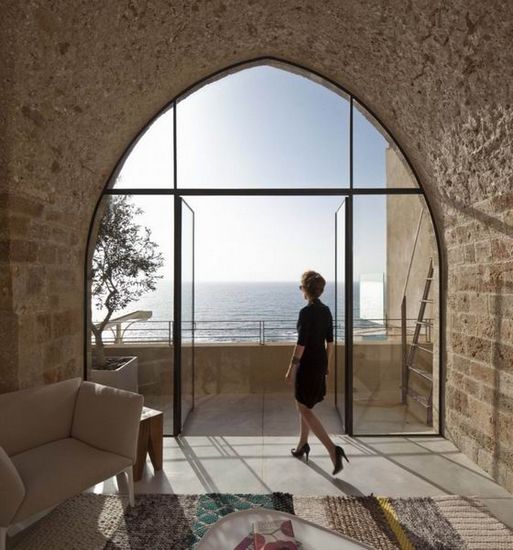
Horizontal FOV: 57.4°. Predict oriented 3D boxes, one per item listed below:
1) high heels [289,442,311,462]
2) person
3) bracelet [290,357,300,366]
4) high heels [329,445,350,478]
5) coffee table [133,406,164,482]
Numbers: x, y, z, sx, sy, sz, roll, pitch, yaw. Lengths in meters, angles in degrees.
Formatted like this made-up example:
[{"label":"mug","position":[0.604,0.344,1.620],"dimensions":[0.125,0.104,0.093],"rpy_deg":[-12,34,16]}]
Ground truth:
[{"label":"high heels","position":[0.345,1.384,3.654],"dimensions":[0.061,0.128,0.208],"rpy_deg":[2,-5,-17]},{"label":"person","position":[0.440,0.710,3.541],"dimensions":[0.417,1.458,0.572],"rpy_deg":[0,3,4]},{"label":"bracelet","position":[0.286,0.652,3.548],"dimensions":[0.048,0.045,0.055],"rpy_deg":[-1,8,2]},{"label":"high heels","position":[0.625,1.330,3.467],"dimensions":[0.111,0.237,0.416],"rpy_deg":[1,4,12]},{"label":"coffee table","position":[-0.816,1.229,3.445],"dimensions":[0.244,0.443,0.281],"rpy_deg":[2,7,16]}]
